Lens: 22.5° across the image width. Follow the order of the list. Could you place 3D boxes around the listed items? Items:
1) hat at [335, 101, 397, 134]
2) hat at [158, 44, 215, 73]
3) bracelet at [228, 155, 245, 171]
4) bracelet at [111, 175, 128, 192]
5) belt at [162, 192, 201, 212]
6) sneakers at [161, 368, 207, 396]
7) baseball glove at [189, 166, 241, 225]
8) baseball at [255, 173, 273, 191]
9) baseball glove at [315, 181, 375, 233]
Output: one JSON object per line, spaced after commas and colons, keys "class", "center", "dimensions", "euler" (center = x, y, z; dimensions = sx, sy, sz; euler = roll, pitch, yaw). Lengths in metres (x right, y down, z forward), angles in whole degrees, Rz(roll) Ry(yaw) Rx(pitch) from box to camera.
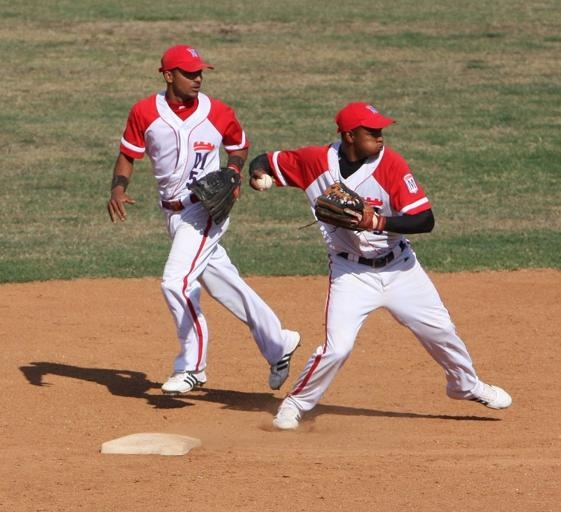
{"class": "hat", "center": [0.854, -1.439, 14.533], "dimensions": [0.511, 0.221, 0.320], "euler": [2, 15, 11]}
{"class": "hat", "center": [-1.036, -2.136, 15.261], "dimensions": [0.523, 0.284, 0.366], "euler": [0, 11, -6]}
{"class": "bracelet", "center": [-0.476, -1.040, 15.559], "dimensions": [0.192, 0.151, 0.189], "euler": [-1, 12, -13]}
{"class": "bracelet", "center": [-1.734, -0.785, 15.270], "dimensions": [0.155, 0.130, 0.169], "euler": [2, 20, -4]}
{"class": "belt", "center": [-1.090, -0.576, 15.247], "dimensions": [0.217, 0.091, 0.287], "euler": [-23, 9, -26]}
{"class": "sneakers", "center": [-1.044, 1.347, 15.387], "dimensions": [0.578, 0.281, 0.207], "euler": [-13, 24, -38]}
{"class": "baseball glove", "center": [-0.682, -0.650, 15.242], "dimensions": [0.291, 0.581, 0.638], "euler": [10, 14, 35]}
{"class": "baseball", "center": [-0.151, -0.780, 14.976], "dimensions": [0.146, 0.181, 0.143], "euler": [-5, 52, 1]}
{"class": "baseball glove", "center": [0.659, -0.529, 14.476], "dimensions": [0.667, 0.281, 0.507], "euler": [9, 18, 7]}
